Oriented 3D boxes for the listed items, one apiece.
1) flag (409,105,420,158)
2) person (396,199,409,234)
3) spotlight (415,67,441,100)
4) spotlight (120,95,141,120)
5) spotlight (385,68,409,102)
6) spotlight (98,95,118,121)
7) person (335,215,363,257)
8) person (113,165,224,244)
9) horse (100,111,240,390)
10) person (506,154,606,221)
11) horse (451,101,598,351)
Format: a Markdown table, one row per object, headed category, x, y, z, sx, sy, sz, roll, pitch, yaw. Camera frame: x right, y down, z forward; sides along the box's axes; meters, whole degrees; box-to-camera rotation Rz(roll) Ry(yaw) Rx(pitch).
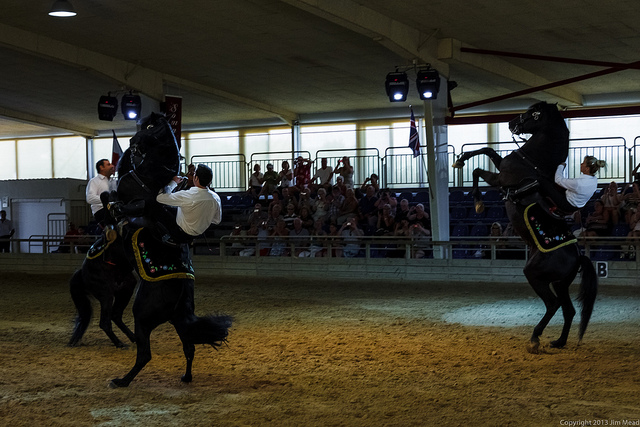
| category | x | y | z | sx | sy | sz | roll | pitch | yaw |
| --- | --- | --- | --- | --- | --- | --- | --- | --- | --- |
| flag | 2.213 | -1.915 | 15.239 | 0.236 | 1.120 | 0.514 | -1 | 4 | 8 |
| person | 2.045 | 0.051 | 15.989 | 0.272 | 0.773 | 0.578 | -1 | 5 | 13 |
| spotlight | 2.447 | -2.952 | 14.559 | 0.521 | 0.730 | 0.435 | 2 | 5 | 36 |
| spotlight | -4.888 | -2.745 | 16.975 | 0.552 | 0.630 | 0.654 | 3 | -9 | -15 |
| spotlight | 1.786 | -2.953 | 14.817 | 0.469 | 0.749 | 0.531 | 0 | 5 | 15 |
| spotlight | -5.648 | -2.807 | 17.219 | 0.543 | 0.636 | 0.636 | 6 | 21 | -12 |
| person | 0.728 | 0.586 | 15.981 | 0.776 | 0.766 | 1.476 | -2 | 25 | 9 |
| person | -1.942 | -0.173 | 8.242 | 1.500 | 0.911 | 0.807 | 9 | -2 | 16 |
| horse | -2.037 | 0.407 | 8.031 | 1.099 | 3.329 | 1.485 | -6 | 6 | -44 |
| person | 3.315 | -0.452 | 9.222 | 1.288 | 0.802 | 0.662 | 15 | 11 | 37 |
| horse | 2.994 | 0.148 | 8.965 | 1.558 | 3.384 | 0.789 | 0 | 5 | 20 |
